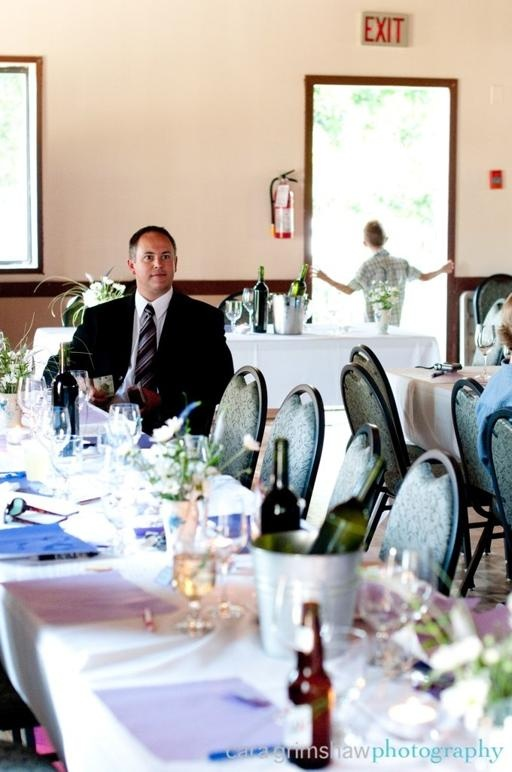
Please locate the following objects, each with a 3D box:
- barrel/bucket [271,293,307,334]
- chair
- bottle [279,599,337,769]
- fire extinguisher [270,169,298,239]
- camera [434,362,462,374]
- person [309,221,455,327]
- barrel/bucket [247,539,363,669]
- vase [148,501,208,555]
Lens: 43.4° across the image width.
[{"bbox_3d":[0.226,-0.508,4.555,0.251,0.285,0.259,0,-2,0],"label":"barrel/bucket"},{"bbox_3d":[0.611,0.284,4.151,1.385,2.304,1.212,-1,5,-8],"label":"chair"},{"bbox_3d":[0.047,0.279,0.625,0.050,0.135,0.103,-6,6,4],"label":"bottle"},{"bbox_3d":[0.311,-1.951,6.916,0.327,0.722,0.147,-7,6,-2],"label":"fire extinguisher"},{"bbox_3d":[1.026,-0.095,3.465,0.085,0.040,0.088,-2,1,29],"label":"camera"},{"bbox_3d":[1.411,-1.212,6.987,1.482,1.783,0.405,-3,25,-1],"label":"person"},{"bbox_3d":[0.053,0.224,0.720,0.145,0.126,0.164,0,-8,1],"label":"barrel/bucket"},{"bbox_3d":[-0.130,0.236,1.091,0.062,0.097,0.062,1,1,-13],"label":"vase"}]
